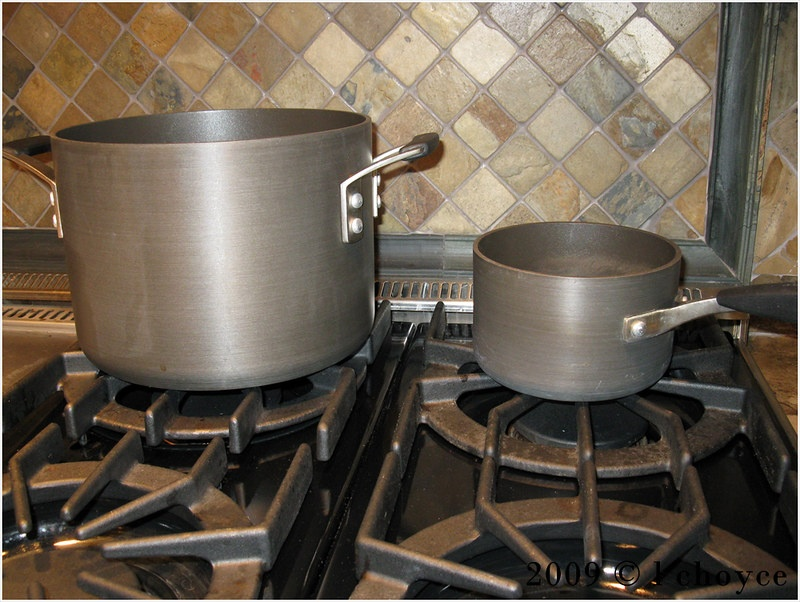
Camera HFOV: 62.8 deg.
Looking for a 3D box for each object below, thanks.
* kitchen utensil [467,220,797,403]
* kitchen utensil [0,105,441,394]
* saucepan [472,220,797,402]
[{"bbox_3d":[0.210,-0.002,0.759,0.387,0.150,0.208,12,21,33],"label":"kitchen utensil"},{"bbox_3d":[-0.190,-0.033,0.809,0.538,0.259,0.339,3,18,13],"label":"kitchen utensil"},{"bbox_3d":[0.211,0.000,0.761,0.387,0.150,0.208,12,21,33],"label":"saucepan"}]
